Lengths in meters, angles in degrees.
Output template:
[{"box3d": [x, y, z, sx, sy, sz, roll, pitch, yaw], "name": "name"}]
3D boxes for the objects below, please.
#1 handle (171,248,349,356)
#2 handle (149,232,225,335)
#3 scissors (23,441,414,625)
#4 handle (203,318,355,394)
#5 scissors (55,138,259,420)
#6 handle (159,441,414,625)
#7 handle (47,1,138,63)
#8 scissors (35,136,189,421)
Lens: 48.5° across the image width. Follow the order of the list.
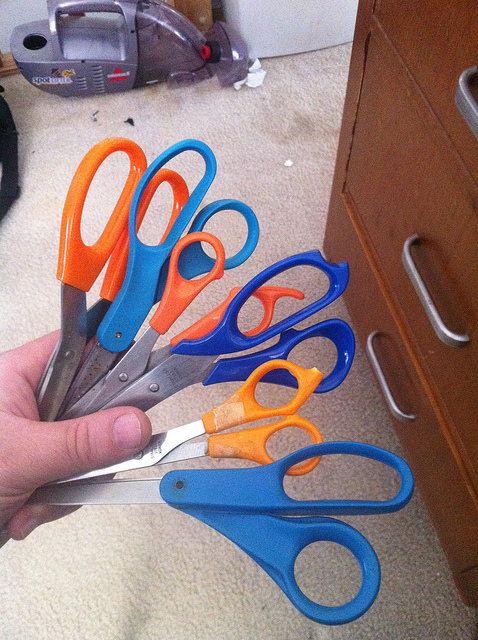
[{"box3d": [0.022, -0.013, 0.497, 0.097, 0.097, 0.033, -26, 87, -5], "name": "handle"}, {"box3d": [-0.042, -0.030, 0.452, 0.044, 0.011, 0.105, 32, 92, -6], "name": "handle"}, {"box3d": [-0.035, 0.135, 0.373, 0.305, 0.016, 0.115, 1, 63, 8], "name": "scissors"}, {"box3d": [0.035, 0.036, 0.429, 0.125, 0.077, 0.022, -20, 41, 16], "name": "handle"}, {"box3d": [-0.068, -0.044, 0.467, 0.107, 0.035, 0.297, 39, 89, -4], "name": "scissors"}, {"box3d": [0.022, 0.140, 0.372, 0.179, 0.046, 0.125, 4, 46, 19], "name": "handle"}, {"box3d": [-0.241, -0.469, 0.875, 0.155, 0.086, 0.081, -6, 16, -11], "name": "handle"}, {"box3d": [-0.113, -0.014, 0.422, 0.096, 0.267, 0.012, 15, 19, -33], "name": "scissors"}]
